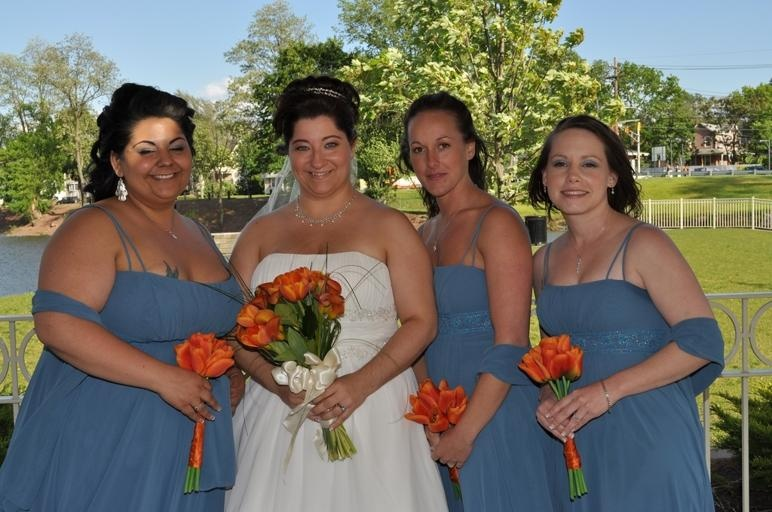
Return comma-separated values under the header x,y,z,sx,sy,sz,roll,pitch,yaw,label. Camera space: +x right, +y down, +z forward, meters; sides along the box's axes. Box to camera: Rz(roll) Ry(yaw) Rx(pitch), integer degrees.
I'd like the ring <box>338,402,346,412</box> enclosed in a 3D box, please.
x,y,z,sx,sy,sz,roll,pitch,yaw,label
-0.280,0.965,4.131,0.016,0.054,0.051,-33,21,-33,ring

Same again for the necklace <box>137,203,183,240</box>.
x,y,z,sx,sy,sz,roll,pitch,yaw,label
-1.542,-0.243,4.485,0.205,0.290,0.106,-19,-23,-37,necklace

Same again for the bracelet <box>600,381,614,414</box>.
x,y,z,sx,sy,sz,roll,pitch,yaw,label
1.417,0.928,4.219,0.045,0.180,0.139,-19,5,-15,bracelet

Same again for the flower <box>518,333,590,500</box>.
x,y,z,sx,sy,sz,roll,pitch,yaw,label
1.116,1.083,4.311,0.488,1.164,0.318,-3,6,-6,flower

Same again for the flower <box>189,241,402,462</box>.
x,y,z,sx,sy,sz,roll,pitch,yaw,label
-0.478,0.663,4.118,0.657,1.214,0.911,-32,-36,16,flower

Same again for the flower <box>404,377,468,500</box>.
x,y,z,sx,sy,sz,roll,pitch,yaw,label
0.343,1.016,4.322,0.416,0.405,0.254,-2,6,5,flower

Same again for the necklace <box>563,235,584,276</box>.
x,y,z,sx,sy,sz,roll,pitch,yaw,label
1.317,-0.004,4.647,0.090,0.078,0.351,-1,48,-5,necklace
